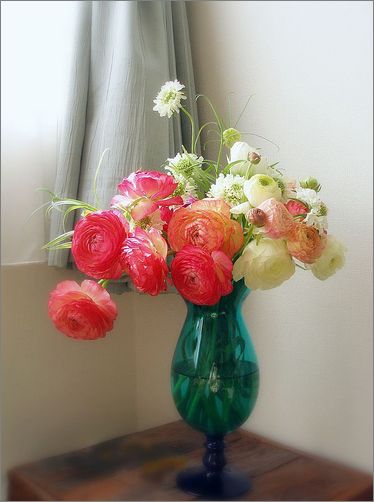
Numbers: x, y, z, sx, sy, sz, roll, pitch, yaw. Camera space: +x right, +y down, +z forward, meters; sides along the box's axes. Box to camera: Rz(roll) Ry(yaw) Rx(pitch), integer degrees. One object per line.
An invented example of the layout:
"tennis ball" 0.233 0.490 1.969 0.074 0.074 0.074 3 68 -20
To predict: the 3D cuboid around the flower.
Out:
"flower" 0.022 0.041 0.554 0.340 0.353 0.247 1 -9 -25
